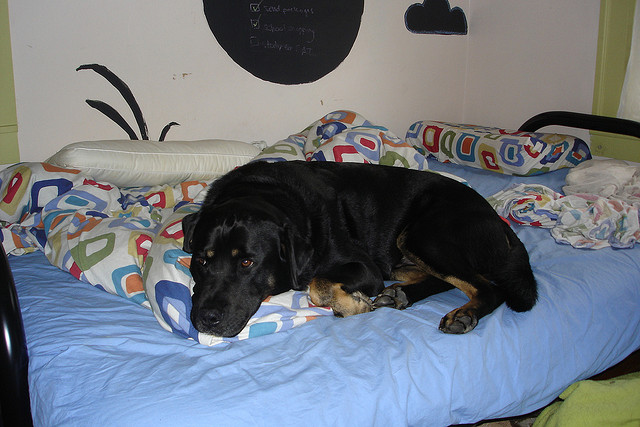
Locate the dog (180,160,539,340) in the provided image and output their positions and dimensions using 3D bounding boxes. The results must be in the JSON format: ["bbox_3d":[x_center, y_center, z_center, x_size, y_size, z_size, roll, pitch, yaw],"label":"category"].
[{"bbox_3d":[0.157,0.126,2.505,1.303,0.490,1.101,-1,8,-10],"label":"dog"}]

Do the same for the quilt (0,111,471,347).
[{"bbox_3d":[-0.644,0.082,3.007,1.916,0.409,1.727,-6,14,-40],"label":"quilt"}]
